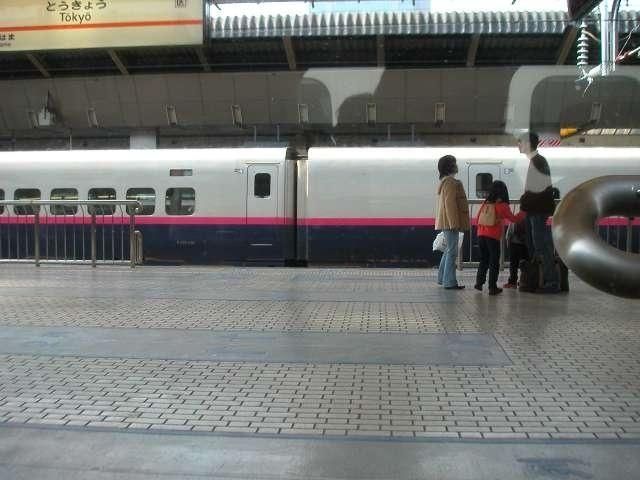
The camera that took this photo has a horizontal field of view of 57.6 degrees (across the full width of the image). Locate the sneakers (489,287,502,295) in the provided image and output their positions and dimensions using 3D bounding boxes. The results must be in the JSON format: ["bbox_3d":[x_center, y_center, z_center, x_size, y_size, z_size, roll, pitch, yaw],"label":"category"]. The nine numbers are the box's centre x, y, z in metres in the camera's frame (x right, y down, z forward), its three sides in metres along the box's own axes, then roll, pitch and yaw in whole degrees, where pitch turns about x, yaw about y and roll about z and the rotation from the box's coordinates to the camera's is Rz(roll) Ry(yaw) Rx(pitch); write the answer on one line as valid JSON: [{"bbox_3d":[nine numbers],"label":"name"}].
[{"bbox_3d":[2.109,0.616,7.004,0.084,0.089,0.291,4,7,36],"label":"sneakers"}]

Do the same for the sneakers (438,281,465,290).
[{"bbox_3d":[1.732,0.606,7.520,0.314,0.081,0.125,-2,6,-19],"label":"sneakers"}]

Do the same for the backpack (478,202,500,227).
[{"bbox_3d":[2.107,-0.306,7.268,0.130,0.297,0.302,6,-1,-44],"label":"backpack"}]

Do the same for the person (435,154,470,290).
[{"bbox_3d":[1.741,-0.234,7.631,0.421,1.774,0.593,0,5,4],"label":"person"}]

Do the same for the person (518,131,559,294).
[{"bbox_3d":[2.768,-0.379,7.374,0.515,1.961,0.944,2,5,19],"label":"person"}]

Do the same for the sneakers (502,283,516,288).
[{"bbox_3d":[2.524,0.618,7.827,0.167,0.070,0.060,5,2,9],"label":"sneakers"}]
